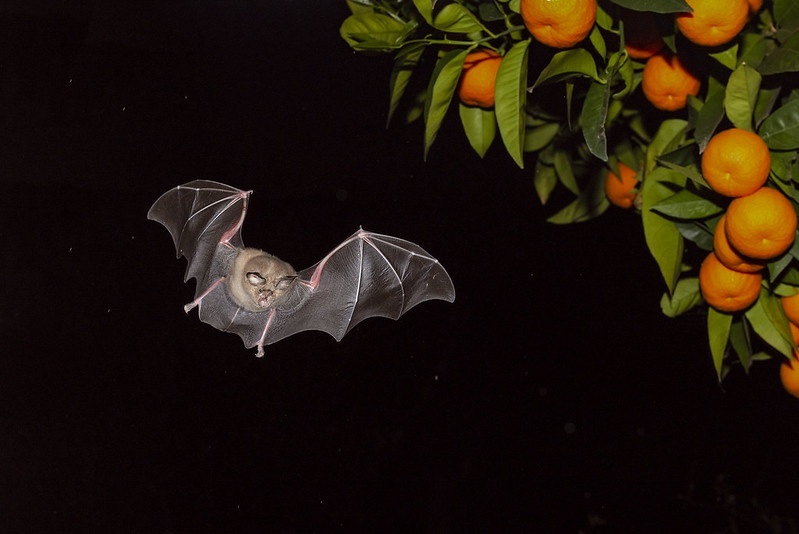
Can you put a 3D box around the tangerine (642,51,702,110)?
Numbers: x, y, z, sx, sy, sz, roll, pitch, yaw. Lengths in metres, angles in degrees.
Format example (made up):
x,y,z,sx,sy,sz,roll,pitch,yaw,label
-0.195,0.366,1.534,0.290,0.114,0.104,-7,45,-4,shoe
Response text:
x,y,z,sx,sy,sz,roll,pitch,yaw,label
0.727,-0.490,2.201,0.159,0.144,0.093,0,35,10,tangerine

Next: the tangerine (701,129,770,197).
x,y,z,sx,sy,sz,roll,pitch,yaw,label
0.829,-0.256,2.041,0.160,0.135,0.122,9,38,22,tangerine

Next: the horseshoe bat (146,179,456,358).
x,y,z,sx,sy,sz,roll,pitch,yaw,label
-0.394,0.027,3.098,1.167,0.597,0.335,1,35,11,horseshoe bat

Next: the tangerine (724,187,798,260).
x,y,z,sx,sy,sz,roll,pitch,yaw,label
0.881,-0.106,2.021,0.155,0.127,0.103,-7,35,0,tangerine

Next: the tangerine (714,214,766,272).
x,y,z,sx,sy,sz,roll,pitch,yaw,label
0.864,-0.070,2.113,0.094,0.162,0.096,-1,-2,-44,tangerine

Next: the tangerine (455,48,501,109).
x,y,z,sx,sy,sz,roll,pitch,yaw,label
0.211,-0.499,2.209,0.128,0.162,0.091,3,-2,3,tangerine

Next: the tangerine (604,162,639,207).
x,y,z,sx,sy,sz,roll,pitch,yaw,label
0.695,-0.254,2.550,0.102,0.117,0.139,-5,7,-15,tangerine
